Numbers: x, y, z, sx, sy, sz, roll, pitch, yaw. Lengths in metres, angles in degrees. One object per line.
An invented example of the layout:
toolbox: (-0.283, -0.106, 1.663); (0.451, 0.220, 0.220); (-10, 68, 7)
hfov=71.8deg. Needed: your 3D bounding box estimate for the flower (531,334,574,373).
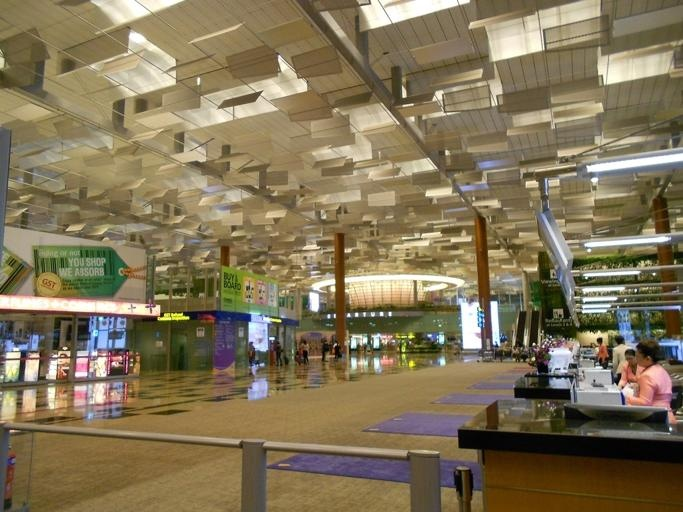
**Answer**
flower: (4.493, 2.069, 9.943); (1.033, 0.460, 1.440); (-2, -5, 28)
